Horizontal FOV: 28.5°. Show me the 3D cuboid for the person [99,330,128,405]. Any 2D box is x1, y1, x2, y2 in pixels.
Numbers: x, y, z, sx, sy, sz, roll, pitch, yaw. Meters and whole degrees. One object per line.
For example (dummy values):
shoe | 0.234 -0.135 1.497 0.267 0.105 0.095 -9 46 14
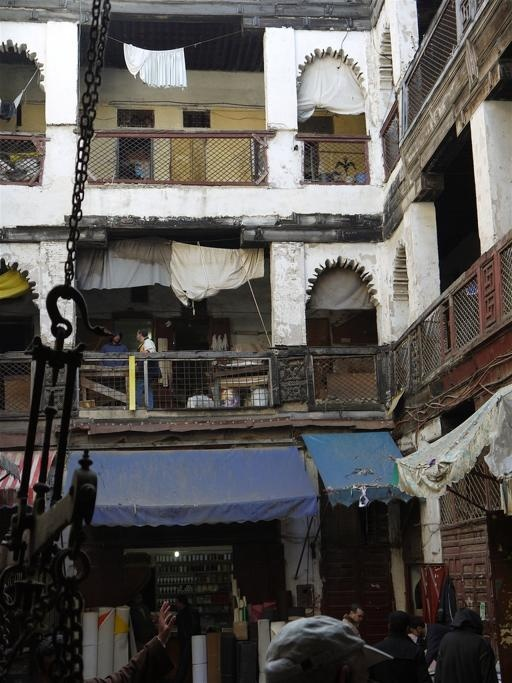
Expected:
person | -1.977 0.400 14.206 0.369 1.141 0.259 -4 27 -17
